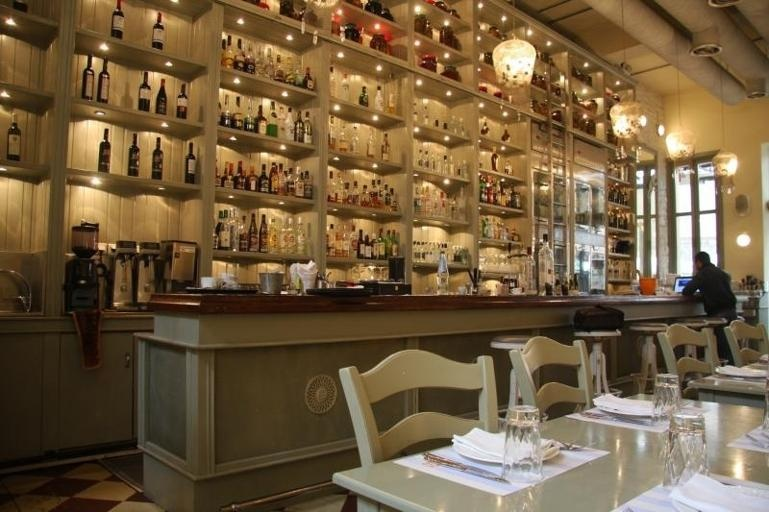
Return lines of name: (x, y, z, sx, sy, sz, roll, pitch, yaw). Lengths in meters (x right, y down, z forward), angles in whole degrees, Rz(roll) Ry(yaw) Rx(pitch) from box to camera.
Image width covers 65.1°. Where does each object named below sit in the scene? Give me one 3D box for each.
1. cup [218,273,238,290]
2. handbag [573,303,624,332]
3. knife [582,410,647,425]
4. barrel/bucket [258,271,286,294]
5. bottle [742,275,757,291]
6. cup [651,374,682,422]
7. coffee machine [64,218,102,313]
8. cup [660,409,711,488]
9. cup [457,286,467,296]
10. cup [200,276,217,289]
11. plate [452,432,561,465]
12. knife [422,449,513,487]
cup: (-1.143, 0.190, 4.540, 0.164, 0.127, 0.163, 3, -3, 0)
handbag: (2.009, 0.595, 5.656, 0.297, 0.193, 0.291, -1, -6, -6)
knife: (1.176, 0.831, 3.108, 0.332, 0.019, 0.102, 0, 33, 16)
barrel/bucket: (-0.822, 0.197, 4.466, 0.161, 0.131, 0.169, 0, -4, 0)
bottle: (6.614, 0.465, 10.903, 0.231, 0.198, 0.325, 0, 13, 31)
cup: (1.390, 0.700, 2.973, 0.155, 0.224, 0.160, -1, 2, 0)
coffee machine: (-2.577, 0.101, 5.184, 0.311, 0.752, 0.326, 2, 3, -33)
cup: (1.258, 0.790, 2.535, 0.197, 0.339, 0.198, -6, 12, 1)
cup: (0.721, 0.314, 5.534, 0.069, 0.060, 0.068, -1, -1, 0)
cup: (-1.332, 0.203, 4.596, 0.098, 0.102, 0.104, -4, 2, 0)
plate: (0.485, 0.849, 2.707, 0.214, 0.035, 0.239, 3, -3, -28)
knife: (0.373, 0.917, 2.600, 0.477, 0.045, 0.087, 9, 26, 35)
